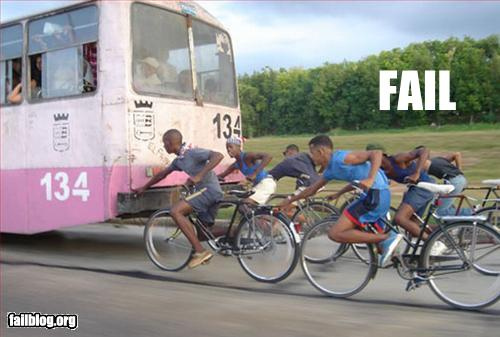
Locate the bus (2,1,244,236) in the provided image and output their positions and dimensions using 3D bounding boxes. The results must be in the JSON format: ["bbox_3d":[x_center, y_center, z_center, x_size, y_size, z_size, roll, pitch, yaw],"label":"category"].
[{"bbox_3d":[-2.227,-1.004,14.204,6.265,3.377,3.882,1,1,33],"label":"bus"}]

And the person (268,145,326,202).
[{"bbox_3d":[1.026,0.015,13.637,1.123,1.370,0.864,0,-11,34],"label":"person"}]
